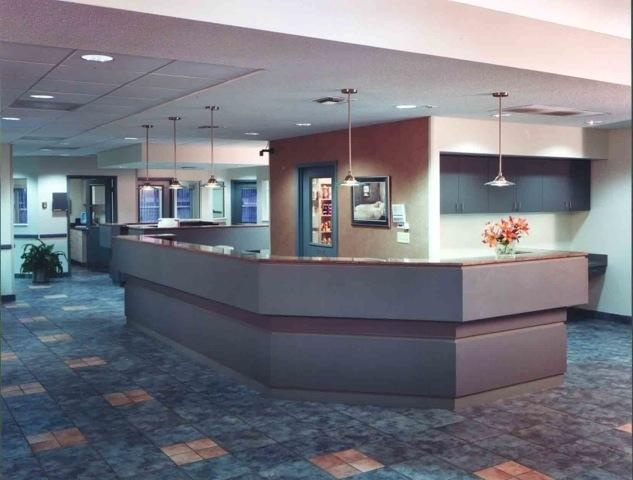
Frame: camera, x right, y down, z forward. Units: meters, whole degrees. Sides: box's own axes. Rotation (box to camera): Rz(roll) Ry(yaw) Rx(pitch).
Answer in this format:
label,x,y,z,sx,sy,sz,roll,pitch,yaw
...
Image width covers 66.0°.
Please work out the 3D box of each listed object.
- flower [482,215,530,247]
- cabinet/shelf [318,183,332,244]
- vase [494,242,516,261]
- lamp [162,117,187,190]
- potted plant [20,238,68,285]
label,x,y,z,sx,sy,sz,roll,pitch,yaw
flower,2.328,-0.125,6.090,0.563,0.309,0.530,-2,0,-14
cabinet/shelf,0.177,-0.453,8.598,0.242,1.060,0.117,0,2,6
vase,1.914,0.117,4.934,0.198,0.175,0.187,1,1,-3
lamp,-2.814,-1.726,9.654,0.475,1.424,0.480,-9,17,-42
potted plant,-6.490,0.558,11.525,1.033,0.825,0.886,7,-8,-31
